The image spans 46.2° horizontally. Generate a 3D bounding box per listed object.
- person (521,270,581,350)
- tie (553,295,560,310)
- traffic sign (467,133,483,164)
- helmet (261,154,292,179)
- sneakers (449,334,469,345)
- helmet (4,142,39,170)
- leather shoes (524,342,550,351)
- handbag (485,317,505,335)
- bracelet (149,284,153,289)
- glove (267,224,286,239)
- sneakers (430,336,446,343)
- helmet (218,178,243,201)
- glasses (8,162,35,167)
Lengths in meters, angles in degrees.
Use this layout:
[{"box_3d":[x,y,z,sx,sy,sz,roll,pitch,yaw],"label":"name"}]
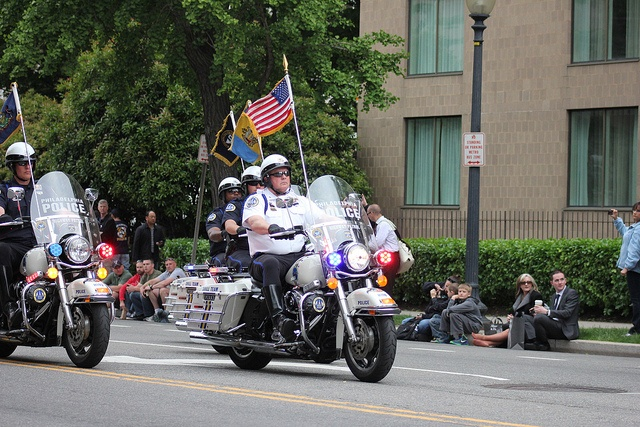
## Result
[{"box_3d":[4.727,1.962,15.118,0.918,1.547,0.518,1,-2,18],"label":"person"},{"box_3d":[4.829,1.789,15.204,0.088,0.250,0.178,20,-18,-36],"label":"tie"},{"box_3d":[3.436,-1.434,16.697,0.447,0.742,0.443,1,-2,11],"label":"traffic sign"},{"box_3d":[-0.617,-0.646,10.472,0.311,0.287,0.336,5,5,-44],"label":"helmet"},{"box_3d":[2.914,2.613,15.555,0.436,0.209,0.150,1,-1,17],"label":"sneakers"},{"box_3d":[-4.452,-0.858,11.181,0.431,0.403,0.395,-2,0,42],"label":"helmet"},{"box_3d":[4.383,2.681,15.054,0.529,0.249,0.178,-1,-2,3],"label":"leather shoes"},{"box_3d":[3.684,2.383,15.790,0.288,0.426,0.387,0,-5,12],"label":"handbag"},{"box_3d":[-4.247,1.831,18.839,0.039,0.125,0.120,-2,14,-19],"label":"bracelet"},{"box_3d":[-0.564,0.229,9.703,0.149,0.174,0.195,-19,1,-16],"label":"glove"},{"box_3d":[2.483,2.653,15.811,0.343,0.150,0.116,6,-7,-5],"label":"sneakers"},{"box_3d":[-1.565,-0.448,13.206,0.381,0.412,0.441,0,-5,-30],"label":"helmet"},{"box_3d":[-4.443,-0.737,11.051,0.273,0.071,0.222,-5,-4,38],"label":"glasses"}]
